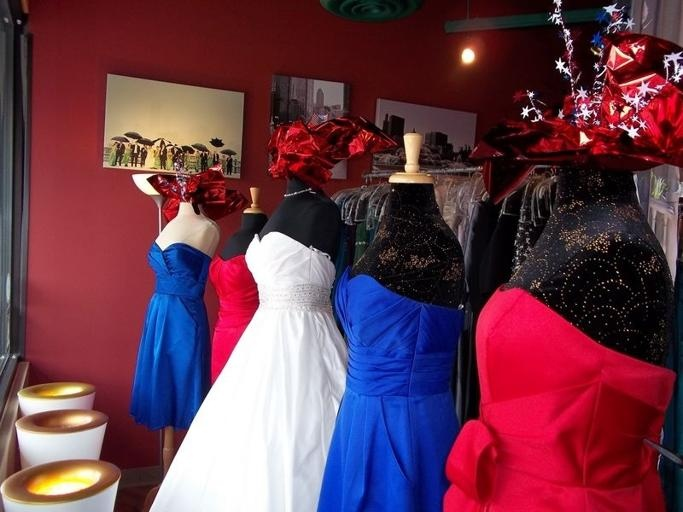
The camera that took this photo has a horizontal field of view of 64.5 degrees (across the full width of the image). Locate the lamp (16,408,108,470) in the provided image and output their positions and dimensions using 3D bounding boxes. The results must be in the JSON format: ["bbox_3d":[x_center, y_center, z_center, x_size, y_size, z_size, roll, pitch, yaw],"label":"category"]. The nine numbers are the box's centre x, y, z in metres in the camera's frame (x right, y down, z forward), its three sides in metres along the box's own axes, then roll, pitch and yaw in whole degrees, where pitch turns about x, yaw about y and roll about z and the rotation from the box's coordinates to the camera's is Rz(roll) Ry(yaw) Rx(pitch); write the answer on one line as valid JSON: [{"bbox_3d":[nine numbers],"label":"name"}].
[{"bbox_3d":[-0.968,0.611,1.925,0.230,0.218,0.256,-3,-11,4],"label":"lamp"}]
